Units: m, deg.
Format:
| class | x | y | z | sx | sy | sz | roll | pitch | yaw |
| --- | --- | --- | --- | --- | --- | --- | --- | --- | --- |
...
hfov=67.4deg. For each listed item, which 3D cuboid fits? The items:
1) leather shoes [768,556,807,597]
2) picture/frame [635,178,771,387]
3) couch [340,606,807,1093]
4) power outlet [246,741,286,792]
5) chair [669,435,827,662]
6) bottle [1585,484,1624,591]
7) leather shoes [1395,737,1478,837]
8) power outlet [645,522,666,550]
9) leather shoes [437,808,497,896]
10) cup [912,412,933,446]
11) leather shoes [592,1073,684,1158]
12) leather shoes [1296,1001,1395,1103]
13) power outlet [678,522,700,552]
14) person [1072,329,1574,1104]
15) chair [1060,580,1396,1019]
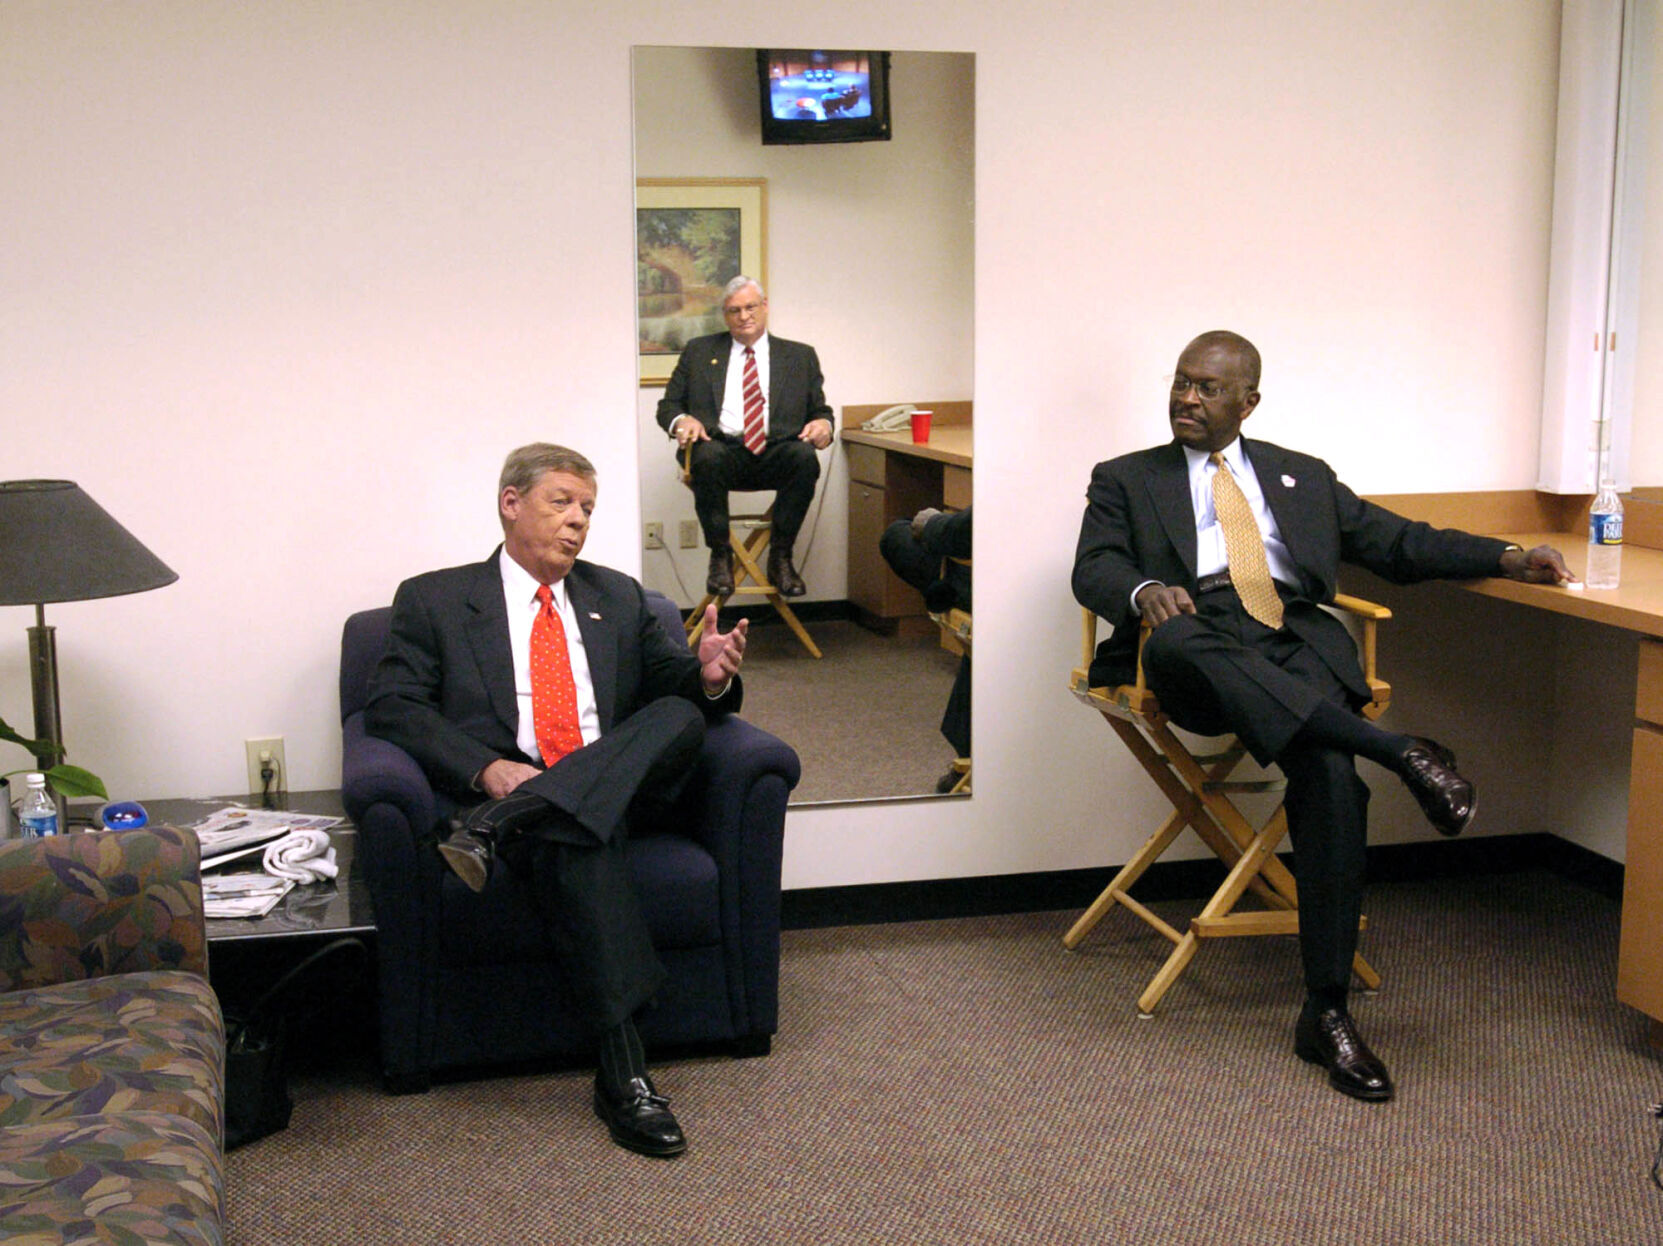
| class | x | y | z | sx | sy | sz | roll | pitch | yaw |
| --- | --- | --- | --- | --- | --- | --- | --- | --- | --- |
| leather shoes | -0.138 | -0.146 | 3.758 | 0.134 | 0.131 | 0.067 | 5 | 9 | 34 |
| picture/frame | -0.386 | -1.006 | 3.581 | 0.566 | 0.609 | 0.028 | -3 | 18 | -11 |
| couch | -0.658 | 0.681 | 3.054 | 1.152 | 0.801 | 0.591 | -1 | 11 | -4 |
| power outlet | -1.597 | 0.398 | 3.507 | 0.109 | 0.112 | 0.204 | 0 | -21 | -13 |
| chair | -0.330 | -0.161 | 3.816 | 0.560 | 0.756 | 0.425 | 0 | 3 | 16 |
| bottle | 2.030 | -0.223 | 3.252 | 0.082 | 0.243 | 0.260 | 7 | 13 | 32 |
| leather shoes | 1.481 | 0.417 | 3.059 | 0.164 | 0.275 | 0.210 | 5 | 12 | 24 |
| power outlet | -0.521 | -0.262 | 3.652 | 0.075 | 0.104 | 0.010 | 1 | 2 | -8 |
| leather shoes | -0.790 | 0.503 | 2.744 | 0.103 | 0.083 | 0.237 | -34 | 23 | -21 |
| cup | 0.276 | -0.593 | 3.800 | 0.082 | 0.102 | 0.082 | 0 | 6 | 0 |
| leather shoes | -0.417 | 1.073 | 2.763 | 0.098 | 0.100 | 0.246 | -1 | 4 | -28 |
| leather shoes | 1.214 | 1.021 | 2.963 | 0.102 | 0.171 | 0.272 | -6 | 2 | -13 |
| power outlet | -0.417 | -0.260 | 3.670 | 0.067 | 0.067 | 0.067 | -1 | 8 | -11 |
| person | 1.235 | 0.107 | 3.388 | 0.888 | 1.776 | 1.095 | -9 | 14 | -38 |
| chair | 1.131 | 0.459 | 3.614 | 0.778 | 1.028 | 0.885 | 0 | 0 | 1 |
